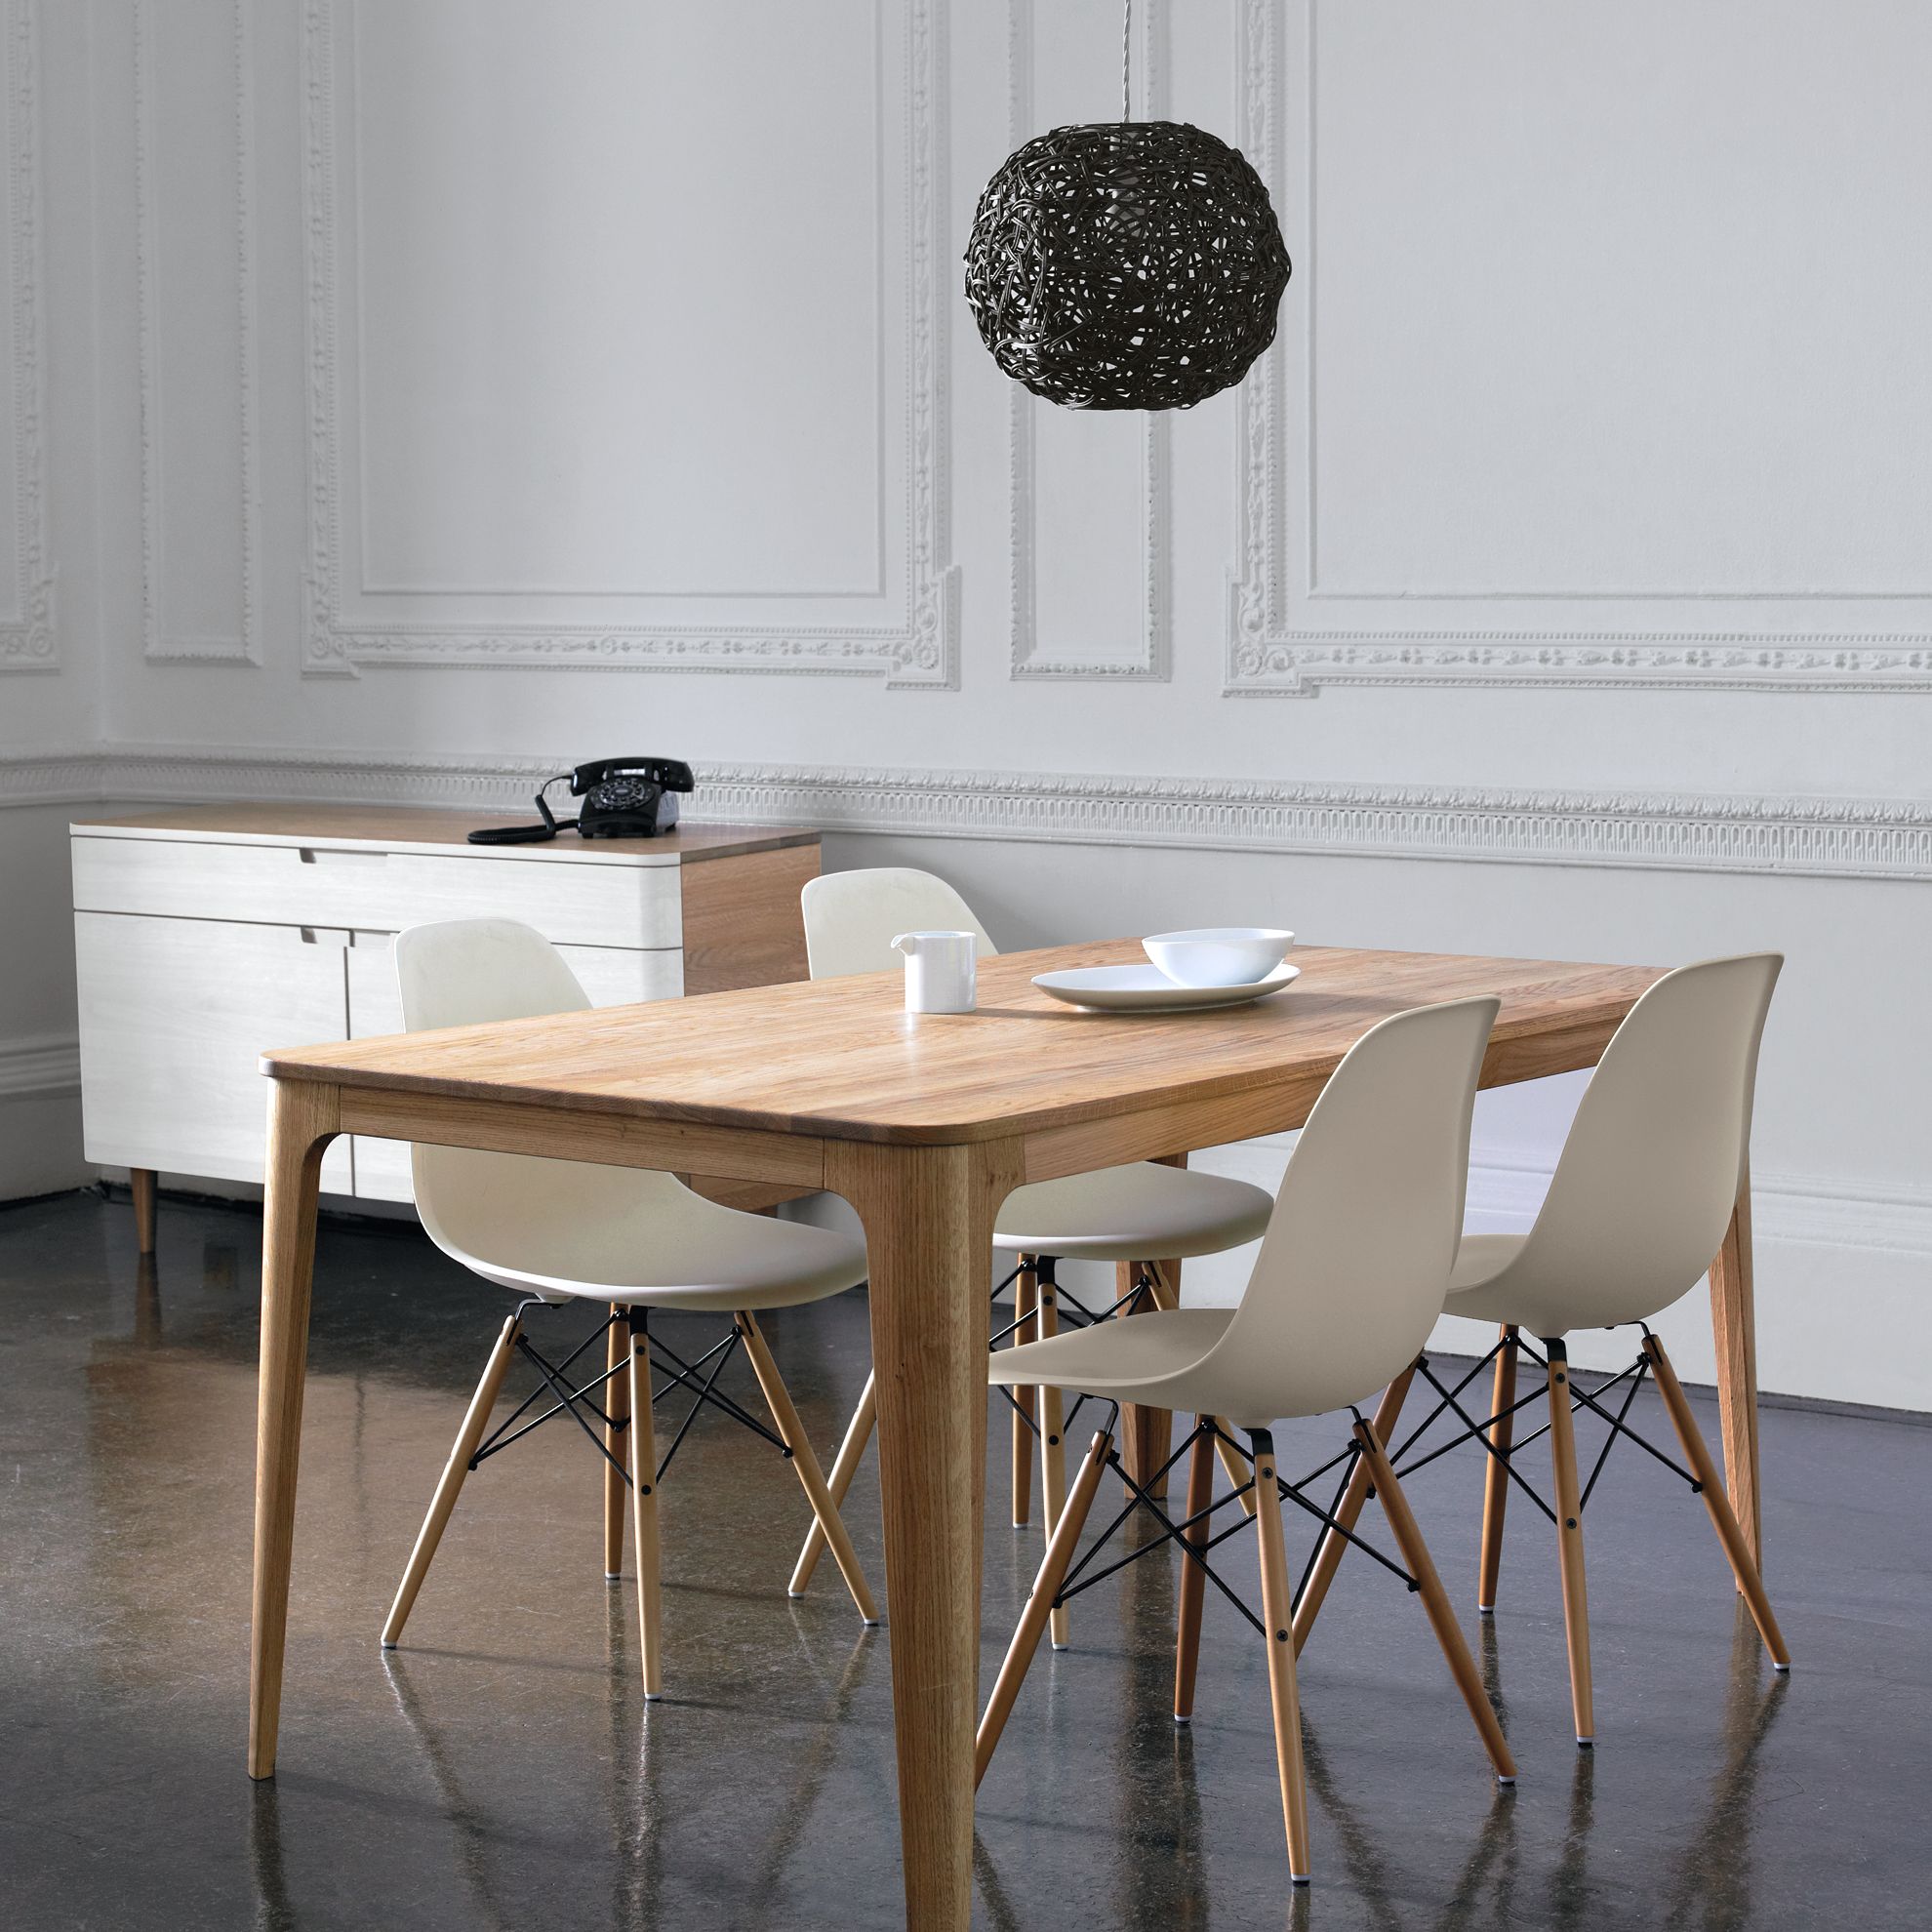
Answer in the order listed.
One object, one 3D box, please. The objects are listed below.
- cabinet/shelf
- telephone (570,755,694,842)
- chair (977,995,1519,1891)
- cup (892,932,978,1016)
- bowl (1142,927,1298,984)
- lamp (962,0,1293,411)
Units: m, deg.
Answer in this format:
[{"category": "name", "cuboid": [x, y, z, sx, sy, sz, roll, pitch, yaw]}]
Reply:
[{"category": "cabinet/shelf", "cuboid": [-1.310, 0.192, 4.577, 1.603, 1.011, 0.547, 3, 6, 17]}, {"category": "telephone", "cuboid": [-0.744, -0.374, 4.305, 0.307, 0.227, 0.161, 2, 8, 16]}, {"category": "chair", "cuboid": [0.251, 0.416, 1.799, 0.390, 0.680, 0.395, -1, 0, 35]}, {"category": "cup", "cuboid": [-0.032, 0.010, 2.346, 0.069, 0.081, 0.106, 4, 6, 37]}, {"category": "bowl", "cuboid": [0.307, -0.011, 2.373, 0.109, 0.042, 0.107, -2, 1, 0]}, {"category": "lamp", "cuboid": [0.188, -0.760, 2.208, 0.328, 0.652, 0.343, 2, 6, 23]}]
